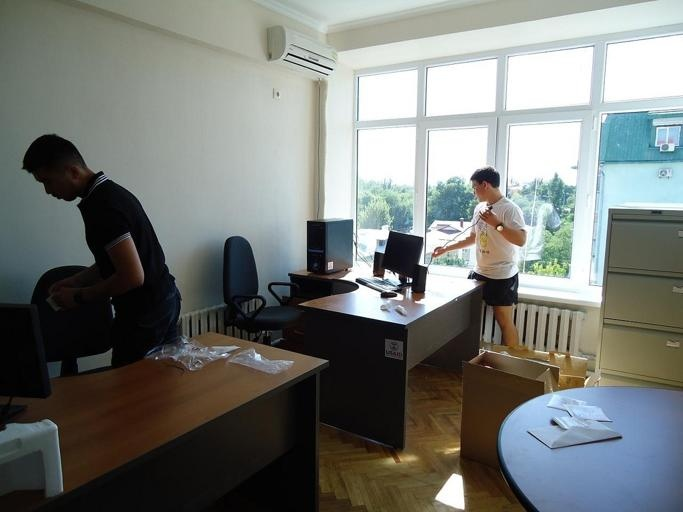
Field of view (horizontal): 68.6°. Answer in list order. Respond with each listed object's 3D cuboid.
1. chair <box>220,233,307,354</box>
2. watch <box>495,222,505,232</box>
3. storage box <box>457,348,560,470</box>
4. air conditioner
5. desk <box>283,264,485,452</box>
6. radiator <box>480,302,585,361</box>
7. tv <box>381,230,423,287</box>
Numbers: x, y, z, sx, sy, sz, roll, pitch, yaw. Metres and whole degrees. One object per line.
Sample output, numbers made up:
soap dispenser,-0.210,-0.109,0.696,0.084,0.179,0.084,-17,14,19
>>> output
chair,-0.660,0.408,4.390,0.715,1.250,0.731,-1,6,17
watch,1.293,-0.259,4.101,0.042,0.072,0.066,5,25,-40
storage box,1.046,0.979,3.260,0.525,0.660,0.395,6,15,15
air conditioner,-0.353,-1.984,4.815,0.238,0.341,0.779,20,16,33
desk,0.339,0.637,3.645,1.176,0.705,1.190,6,12,35
radiator,1.805,0.646,4.526,0.476,0.437,0.078,5,17,34
tv,0.506,0.022,4.211,0.115,0.373,0.358,9,15,-34
